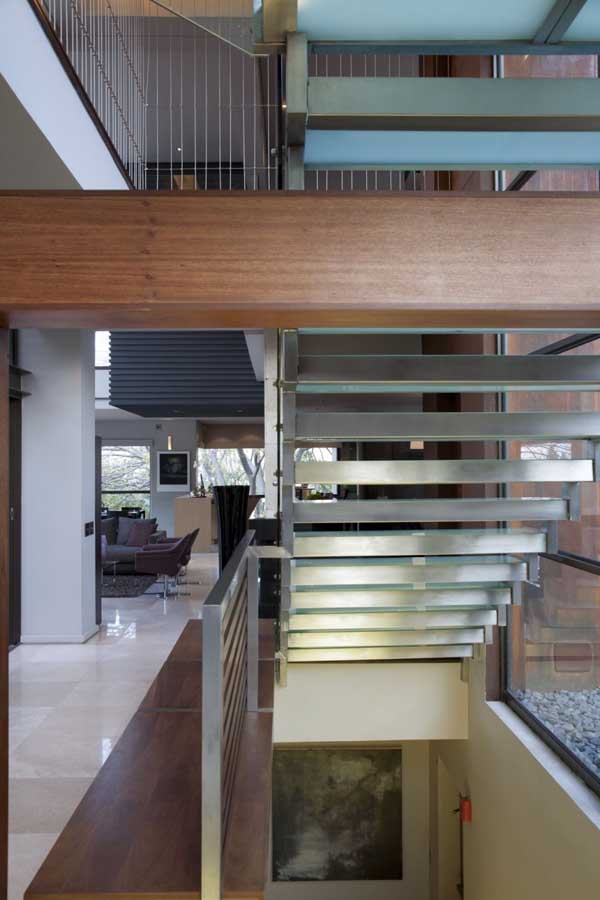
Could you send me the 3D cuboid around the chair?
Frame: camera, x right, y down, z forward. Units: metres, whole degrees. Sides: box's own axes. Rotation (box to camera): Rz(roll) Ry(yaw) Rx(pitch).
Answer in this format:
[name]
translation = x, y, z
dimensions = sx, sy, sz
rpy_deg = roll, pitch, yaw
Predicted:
[chair]
translation = -1.915, 1.390, 9.727
dimensions = 1.059, 1.098, 0.909
rpy_deg = 3, -2, 1
